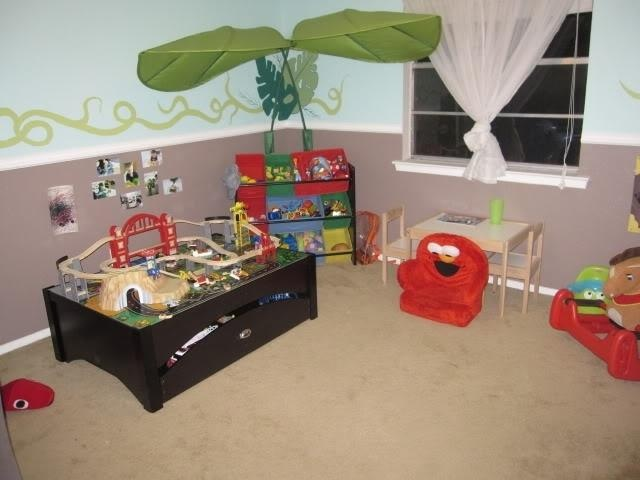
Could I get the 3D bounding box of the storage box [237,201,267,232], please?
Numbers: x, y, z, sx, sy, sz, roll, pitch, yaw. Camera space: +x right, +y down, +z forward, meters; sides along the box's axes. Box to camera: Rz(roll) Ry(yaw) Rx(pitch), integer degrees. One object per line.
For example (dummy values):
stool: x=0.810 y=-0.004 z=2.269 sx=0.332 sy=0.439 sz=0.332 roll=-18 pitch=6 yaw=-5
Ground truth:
storage box: x=-0.690 y=-0.240 z=4.700 sx=0.468 sy=0.273 sz=0.259 roll=8 pitch=15 yaw=42

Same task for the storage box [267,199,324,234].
storage box: x=-0.299 y=-0.269 z=5.447 sx=0.569 sy=0.411 sz=0.222 roll=-4 pitch=0 yaw=-8

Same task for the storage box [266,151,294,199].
storage box: x=-0.449 y=-0.723 z=5.276 sx=0.285 sy=0.287 sz=0.439 roll=-2 pitch=33 yaw=-1

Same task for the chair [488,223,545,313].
chair: x=1.836 y=0.227 z=4.529 sx=0.473 sy=0.792 sz=0.479 roll=6 pitch=17 yaw=30

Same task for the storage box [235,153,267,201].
storage box: x=-0.757 y=-0.765 z=5.127 sx=0.314 sy=0.307 sz=0.252 roll=-4 pitch=19 yaw=-8

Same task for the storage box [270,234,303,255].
storage box: x=-0.372 y=-0.005 z=5.190 sx=0.233 sy=0.183 sz=0.239 roll=5 pitch=19 yaw=17

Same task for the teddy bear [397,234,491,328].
teddy bear: x=1.080 y=0.325 z=4.368 sx=0.854 sy=0.788 sz=0.468 roll=15 pitch=25 yaw=34

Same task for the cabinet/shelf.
cabinet/shelf: x=-1.255 y=0.204 z=3.448 sx=1.200 sy=0.642 sz=1.669 roll=11 pitch=22 yaw=33

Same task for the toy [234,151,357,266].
toy: x=-0.295 y=-0.378 z=5.021 sx=1.152 sy=1.136 sz=0.388 roll=-3 pitch=15 yaw=-2

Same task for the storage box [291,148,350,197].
storage box: x=0.005 y=-0.766 z=5.285 sx=0.629 sy=0.458 sz=0.328 roll=-5 pitch=20 yaw=-10

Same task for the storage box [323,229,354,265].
storage box: x=0.195 y=0.061 z=5.604 sx=0.350 sy=0.381 sz=0.232 roll=1 pitch=2 yaw=-2

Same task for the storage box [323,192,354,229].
storage box: x=0.188 y=-0.350 z=5.325 sx=0.372 sy=0.388 sz=0.235 roll=-6 pitch=-11 yaw=-7

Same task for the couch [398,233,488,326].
couch: x=1.085 y=0.327 z=4.366 sx=0.842 sy=0.791 sz=0.471 roll=15 pitch=25 yaw=35
